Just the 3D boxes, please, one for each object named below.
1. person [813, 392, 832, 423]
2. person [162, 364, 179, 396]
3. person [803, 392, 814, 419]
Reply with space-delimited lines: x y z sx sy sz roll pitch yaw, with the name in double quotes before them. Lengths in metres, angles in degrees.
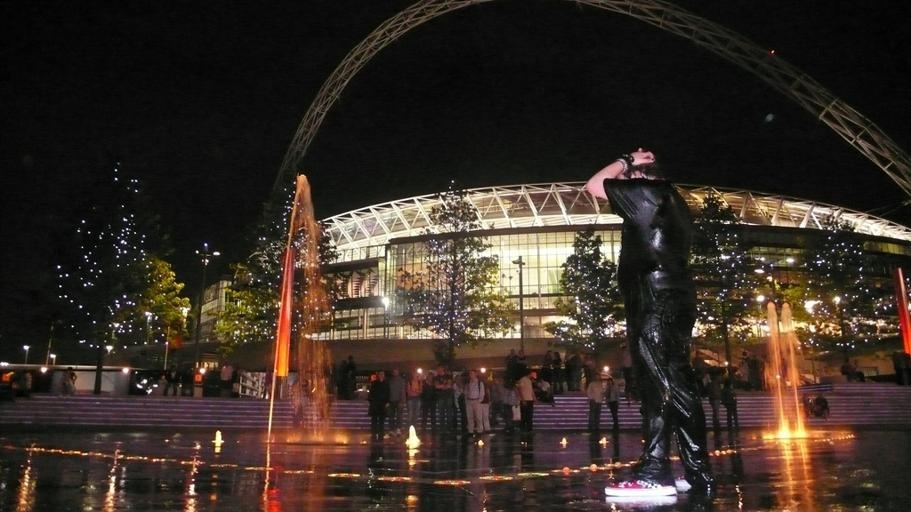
"person" 19.432 8.076 36.853 0.565 1.402 1.162 -1 -14 42
"person" -16.855 7.495 41.240 1.705 1.458 0.430 -13 -24 43
"person" 18.978 8.110 37.310 0.472 1.169 0.890 -8 -19 16
